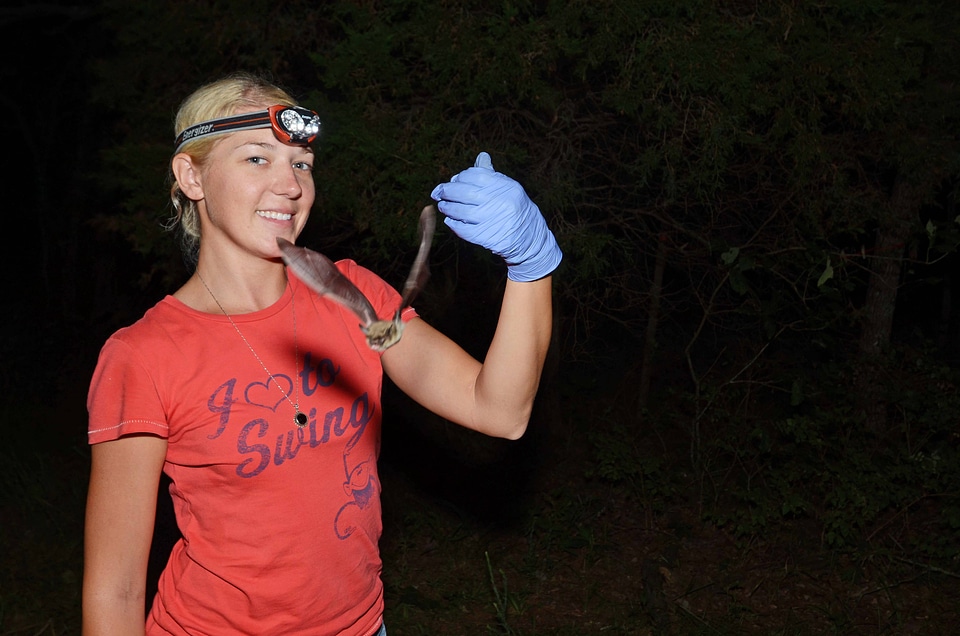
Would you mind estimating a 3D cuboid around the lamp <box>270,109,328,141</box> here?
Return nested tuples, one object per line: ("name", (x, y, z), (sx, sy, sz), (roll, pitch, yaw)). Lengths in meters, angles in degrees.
("lamp", (-1.383, -1.405, 6.647), (0.216, 0.159, 0.305), (-5, 42, -32))

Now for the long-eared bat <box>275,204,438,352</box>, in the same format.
("long-eared bat", (-0.941, -0.186, 6.668), (1.244, 0.634, 0.980), (1, 63, -25))

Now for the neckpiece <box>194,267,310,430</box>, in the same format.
("neckpiece", (-1.660, 0.276, 6.522), (1.401, 0.203, 0.122), (50, 20, 11))
